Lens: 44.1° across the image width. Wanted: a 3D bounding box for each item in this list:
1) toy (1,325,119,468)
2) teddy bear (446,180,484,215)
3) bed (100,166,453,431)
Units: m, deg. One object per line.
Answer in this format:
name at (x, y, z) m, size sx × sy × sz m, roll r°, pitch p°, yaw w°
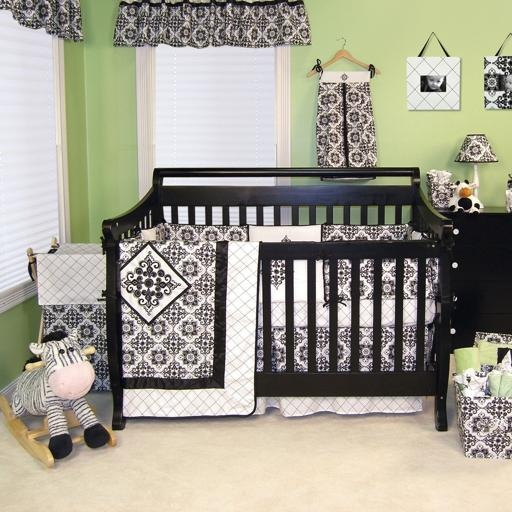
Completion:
toy at (-0.862, 0.535, 2.451) m, size 0.279 × 0.438 × 0.688 m, roll -4°, pitch 5°, yaw -34°
teddy bear at (1.110, -0.322, 3.364) m, size 0.177 × 0.089 × 0.226 m, roll -3°, pitch 35°, yaw 8°
bed at (0.106, 0.080, 3.016) m, size 1.389 × 0.951 × 1.354 m, roll 1°, pitch 15°, yaw 1°
